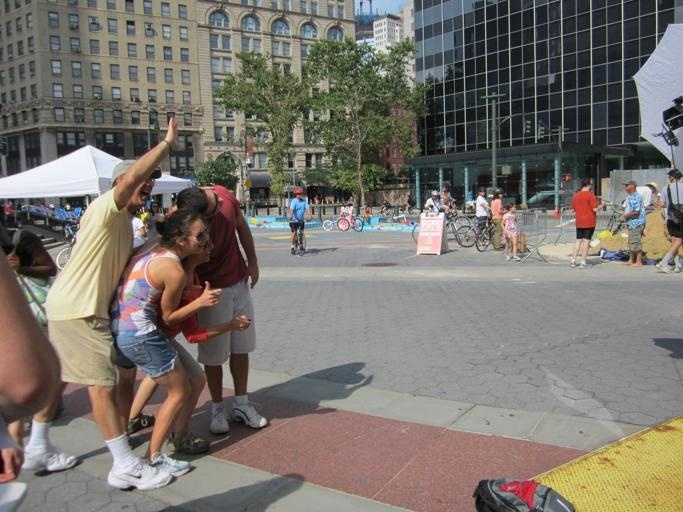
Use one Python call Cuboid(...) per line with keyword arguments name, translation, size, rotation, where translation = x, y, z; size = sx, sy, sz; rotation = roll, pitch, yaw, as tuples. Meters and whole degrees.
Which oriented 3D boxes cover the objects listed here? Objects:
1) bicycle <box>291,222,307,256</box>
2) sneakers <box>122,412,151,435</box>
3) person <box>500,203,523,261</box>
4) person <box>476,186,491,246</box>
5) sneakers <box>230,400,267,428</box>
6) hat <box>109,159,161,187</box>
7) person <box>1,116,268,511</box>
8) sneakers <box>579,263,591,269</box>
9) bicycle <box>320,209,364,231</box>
Cuboid(name="bicycle", translation=(-1.317, -0.458, 17.999), size=(0.325, 0.988, 0.530), rotation=(-5, 8, -37))
Cuboid(name="sneakers", translation=(-1.711, 1.430, 5.014), size=(0.072, 0.088, 0.221), rotation=(15, 14, 19))
Cuboid(name="person", translation=(4.373, -0.602, 15.054), size=(0.769, 1.464, 0.770), rotation=(-4, 4, -8))
Cuboid(name="person", translation=(4.417, -1.200, 18.320), size=(0.427, 1.674, 1.586), rotation=(1, 7, 14))
Cuboid(name="sneakers", translation=(-0.795, 1.394, 5.197), size=(0.370, 0.170, 0.156), rotation=(18, 14, 20))
Cuboid(name="hat", translation=(-1.548, -0.652, 4.381), size=(0.353, 0.187, 0.226), rotation=(-17, 3, 11))
Cuboid(name="person", translation=(-1.748, 0.366, 4.252), size=(1.123, 2.622, 0.769), rotation=(2, 7, 20))
Cuboid(name="sneakers", translation=(5.404, 0.252, 13.105), size=(0.285, 0.132, 0.103), rotation=(-3, 11, -10))
Cuboid(name="bicycle", translation=(0.097, -1.743, 29.865), size=(2.156, 1.300, 1.066), rotation=(-1, 4, 8))
